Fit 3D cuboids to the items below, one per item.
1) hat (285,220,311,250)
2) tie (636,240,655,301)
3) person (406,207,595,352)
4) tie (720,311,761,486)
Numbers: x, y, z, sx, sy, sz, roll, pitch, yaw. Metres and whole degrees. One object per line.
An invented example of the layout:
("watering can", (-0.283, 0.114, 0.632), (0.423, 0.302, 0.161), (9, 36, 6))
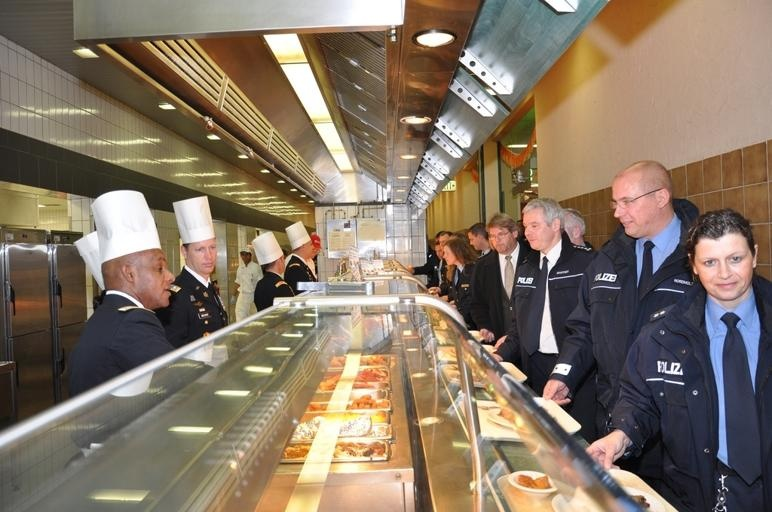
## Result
("hat", (-0.990, -0.242, 5.382), (0.320, 0.294, 0.273), (-18, 4, -7))
("tie", (1.391, 0.022, 2.488), (0.087, 0.061, 0.518), (-11, 20, 33))
("person", (0.973, 0.208, 3.841), (0.906, 1.616, 1.295), (1, -2, -15))
("tie", (1.349, 0.535, 1.785), (0.104, 0.544, 0.070), (-2, 0, 34))
